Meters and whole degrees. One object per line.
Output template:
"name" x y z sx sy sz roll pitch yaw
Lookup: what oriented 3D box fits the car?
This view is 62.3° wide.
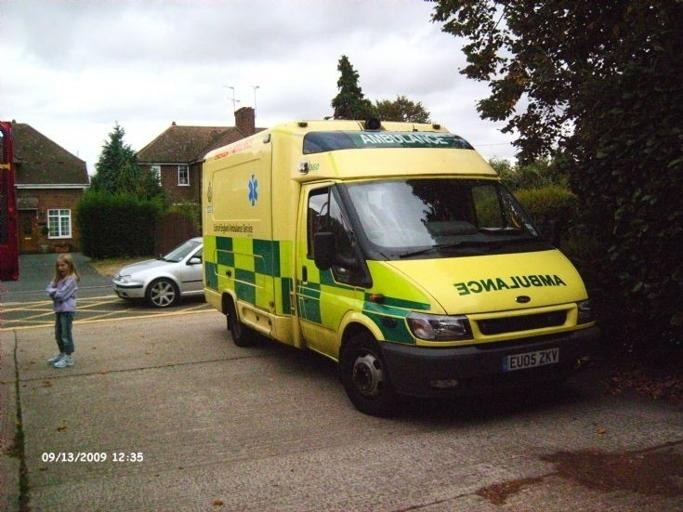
"car" -4.366 0.684 14.381 2.009 2.144 2.378 10 6 43

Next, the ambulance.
"ambulance" -0.120 -0.166 8.217 2.673 3.448 7.018 -6 7 -36

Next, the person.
"person" -4.148 0.808 8.417 0.431 1.592 0.471 -4 -5 37
